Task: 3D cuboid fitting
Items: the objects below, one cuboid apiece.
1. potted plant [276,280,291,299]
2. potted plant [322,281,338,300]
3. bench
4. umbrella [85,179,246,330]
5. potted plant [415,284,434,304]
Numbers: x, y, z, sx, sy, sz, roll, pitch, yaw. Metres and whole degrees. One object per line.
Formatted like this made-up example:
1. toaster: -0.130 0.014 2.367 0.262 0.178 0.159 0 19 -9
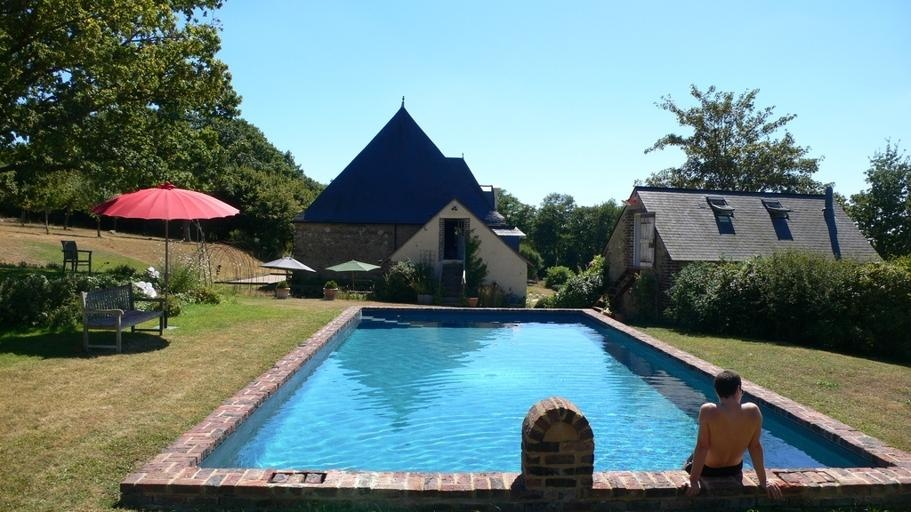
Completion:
1. potted plant: -9.851 1.881 39.068 0.659 0.959 1.507 0 -5 -19
2. potted plant: -7.191 1.896 39.390 0.670 1.053 1.044 0 -4 -13
3. bench: -12.954 2.279 27.055 1.526 2.071 4.192 1 3 -3
4. umbrella: -12.122 -0.731 28.963 5.080 5.032 4.803 3 14 -20
5. potted plant: -1.859 2.161 39.348 0.983 1.301 1.239 0 -1 3
